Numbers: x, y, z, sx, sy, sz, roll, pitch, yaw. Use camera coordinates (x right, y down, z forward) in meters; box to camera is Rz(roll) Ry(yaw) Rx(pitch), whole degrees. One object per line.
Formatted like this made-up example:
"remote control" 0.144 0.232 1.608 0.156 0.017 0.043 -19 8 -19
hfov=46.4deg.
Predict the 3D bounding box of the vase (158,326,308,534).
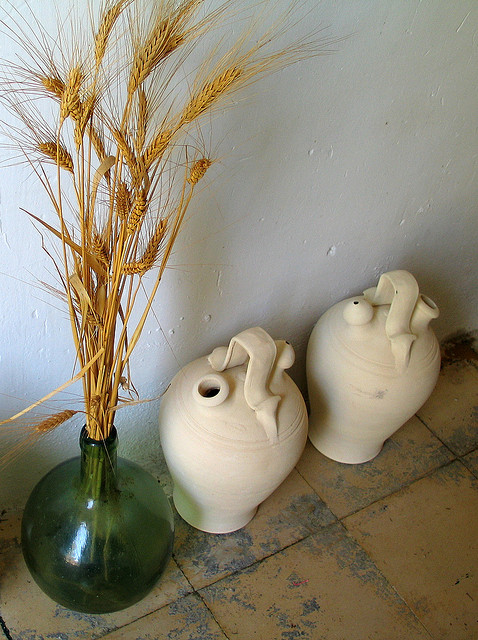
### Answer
"vase" -0.020 0.321 1.428 0.377 0.638 0.242 1 28 2

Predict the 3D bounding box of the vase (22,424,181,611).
"vase" -0.303 0.461 1.265 0.347 0.422 0.313 -6 18 -16
